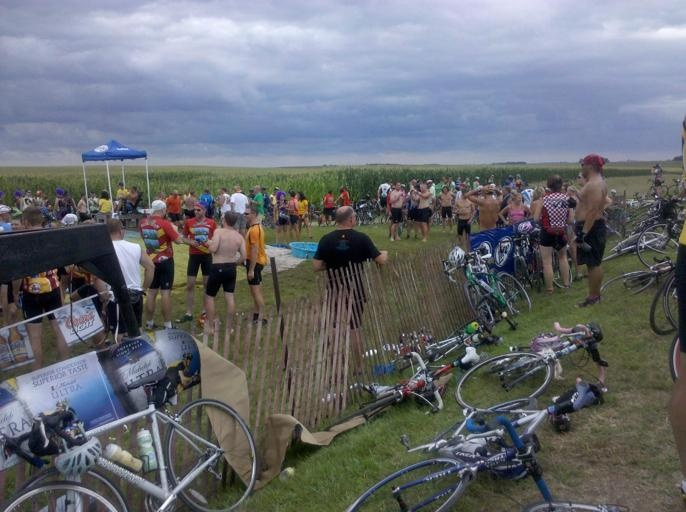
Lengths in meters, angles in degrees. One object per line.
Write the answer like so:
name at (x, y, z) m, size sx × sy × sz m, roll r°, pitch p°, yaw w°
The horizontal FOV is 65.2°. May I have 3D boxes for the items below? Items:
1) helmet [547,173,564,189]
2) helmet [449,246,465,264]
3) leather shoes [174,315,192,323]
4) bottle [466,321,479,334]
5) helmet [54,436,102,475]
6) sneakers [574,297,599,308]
helmet at (3.884, -1.367, 9.901) m, size 0.244 × 0.329 × 0.279 m, roll -1°, pitch 44°, yaw 9°
helmet at (1.883, -0.023, 8.979) m, size 0.188 × 0.295 × 0.271 m, roll 10°, pitch 8°, yaw 10°
leather shoes at (-3.091, 1.204, 10.307) m, size 0.381 × 0.195 × 0.153 m, roll -3°, pitch 5°, yaw -13°
bottle at (1.961, 1.063, 8.150) m, size 0.141 × 0.218 × 0.106 m, roll -17°, pitch 44°, yaw -26°
helmet at (-2.182, 1.670, 4.435) m, size 0.303 × 0.205 × 0.261 m, roll -14°, pitch -13°, yaw 18°
sneakers at (4.105, 0.782, 9.046) m, size 0.127 × 0.159 × 0.364 m, roll -18°, pitch 2°, yaw -28°
